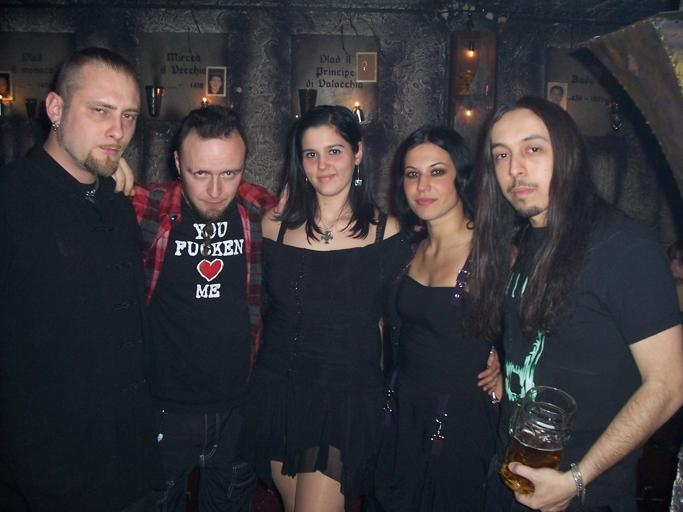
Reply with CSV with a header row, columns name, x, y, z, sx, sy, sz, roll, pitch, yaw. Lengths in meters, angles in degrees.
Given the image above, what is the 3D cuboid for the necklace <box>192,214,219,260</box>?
name,x,y,z,sx,sy,sz,roll,pitch,yaw
necklace,-0.853,-0.108,3.772,0.180,0.271,0.066,1,-8,-10

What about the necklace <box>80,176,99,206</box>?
name,x,y,z,sx,sy,sz,roll,pitch,yaw
necklace,-1.428,-0.377,3.400,0.082,0.110,0.042,5,5,-18

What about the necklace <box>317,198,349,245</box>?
name,x,y,z,sx,sy,sz,roll,pitch,yaw
necklace,-0.037,-0.220,3.947,0.160,0.269,0.067,11,-18,2

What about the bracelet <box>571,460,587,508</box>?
name,x,y,z,sx,sy,sz,roll,pitch,yaw
bracelet,1.131,1.098,2.866,0.045,0.167,0.130,-8,39,5

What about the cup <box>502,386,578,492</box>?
name,x,y,z,sx,sy,sz,roll,pitch,yaw
cup,0.974,0.913,2.961,0.318,0.499,0.275,4,8,22
